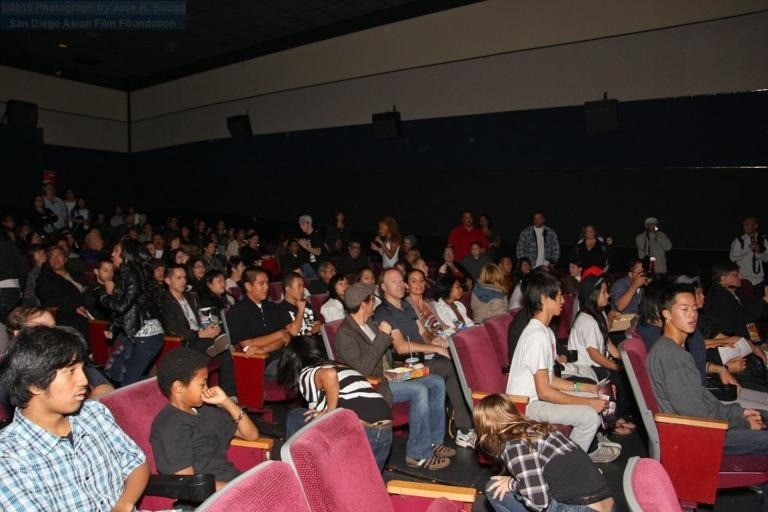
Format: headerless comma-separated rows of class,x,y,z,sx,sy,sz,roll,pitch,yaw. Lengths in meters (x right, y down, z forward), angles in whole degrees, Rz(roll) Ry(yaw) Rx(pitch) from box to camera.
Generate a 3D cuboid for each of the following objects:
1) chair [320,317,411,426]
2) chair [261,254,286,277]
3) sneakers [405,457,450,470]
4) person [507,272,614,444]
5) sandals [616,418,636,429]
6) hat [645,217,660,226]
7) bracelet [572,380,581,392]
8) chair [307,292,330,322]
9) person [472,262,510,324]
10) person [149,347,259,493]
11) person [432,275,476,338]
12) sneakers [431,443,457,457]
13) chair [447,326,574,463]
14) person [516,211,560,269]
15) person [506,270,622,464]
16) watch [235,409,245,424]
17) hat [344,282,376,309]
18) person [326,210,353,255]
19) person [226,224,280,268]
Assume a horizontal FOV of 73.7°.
chair,-0.196,0.948,4.297,0.898,1.030,0.769,-4,4,3
chair,-1.747,0.166,8.123,0.194,0.342,0.261,-21,6,32
sneakers,0.352,1.623,4.072,0.315,0.125,0.125,-3,1,3
person,1.333,0.841,3.807,0.893,1.283,0.570,2,4,11
sandals,2.140,1.519,4.607,0.217,0.054,0.082,0,19,9
hat,4.249,-0.544,8.137,0.133,0.089,0.175,-10,-7,-1
bracelet,1.454,0.992,3.858,0.045,0.040,0.058,-2,-7,13
chair,-0.712,0.561,5.494,0.235,0.308,0.250,-1,0,-38
person,1.166,0.464,5.727,0.395,0.769,0.580,-4,19,-8
person,-0.994,0.993,2.881,0.563,0.877,0.489,1,-3,-13
person,0.697,0.523,5.391,0.501,0.660,0.752,-2,3,19
sneakers,0.480,1.556,4.092,0.188,0.072,0.096,-2,-1,19
chair,1.000,1.008,4.251,1.020,1.187,0.886,-1,3,21
person,2.619,-0.269,8.736,0.671,0.874,0.284,-2,4,13
person,1.285,0.883,3.720,0.789,1.427,0.627,4,5,44
watch,-0.853,0.942,3.027,0.016,0.057,0.055,28,-13,-27
hat,-0.192,0.306,3.957,0.206,0.199,0.172,-2,3,3
person,-0.902,-0.410,9.795,0.457,0.772,0.753,-3,3,-6
person,-2.680,-0.200,10.578,0.676,1.117,0.700,2,21,24
